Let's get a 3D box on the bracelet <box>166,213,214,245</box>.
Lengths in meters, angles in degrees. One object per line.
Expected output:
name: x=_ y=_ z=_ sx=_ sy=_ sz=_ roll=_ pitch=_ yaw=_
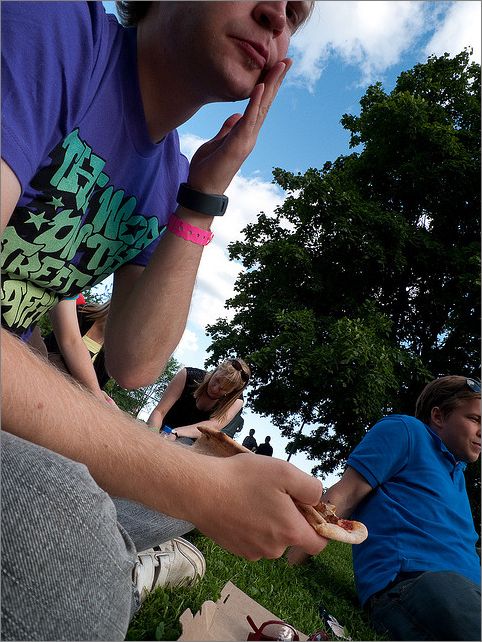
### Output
bracelet: x=-0.207 y=-0.332 z=1.684 sx=0.133 sy=0.035 sz=0.137 roll=19 pitch=18 yaw=-37
